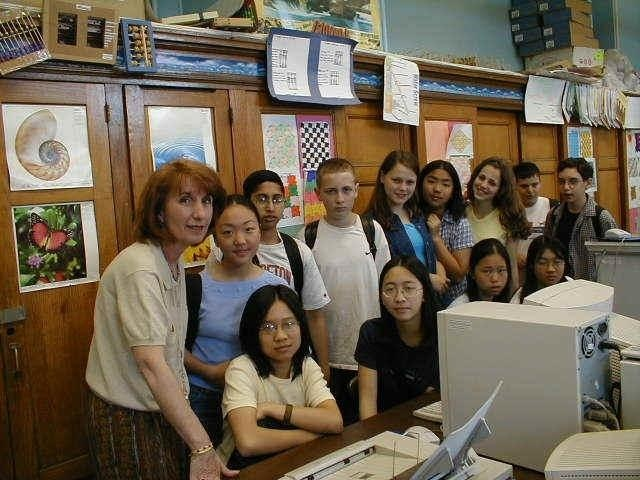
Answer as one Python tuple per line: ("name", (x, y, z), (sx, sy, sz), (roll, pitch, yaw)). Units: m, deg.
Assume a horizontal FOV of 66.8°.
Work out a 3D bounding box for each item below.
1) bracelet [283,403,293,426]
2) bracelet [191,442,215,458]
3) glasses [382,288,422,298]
("bracelet", (-0.125, 0.683, 1.892), (0.044, 0.070, 0.062), (1, 9, 10))
("bracelet", (-0.386, 0.684, 1.583), (0.071, 0.034, 0.036), (-5, 4, -23))
("glasses", (0.357, 0.232, 2.100), (0.168, 0.042, 0.066), (-3, 4, 7))
